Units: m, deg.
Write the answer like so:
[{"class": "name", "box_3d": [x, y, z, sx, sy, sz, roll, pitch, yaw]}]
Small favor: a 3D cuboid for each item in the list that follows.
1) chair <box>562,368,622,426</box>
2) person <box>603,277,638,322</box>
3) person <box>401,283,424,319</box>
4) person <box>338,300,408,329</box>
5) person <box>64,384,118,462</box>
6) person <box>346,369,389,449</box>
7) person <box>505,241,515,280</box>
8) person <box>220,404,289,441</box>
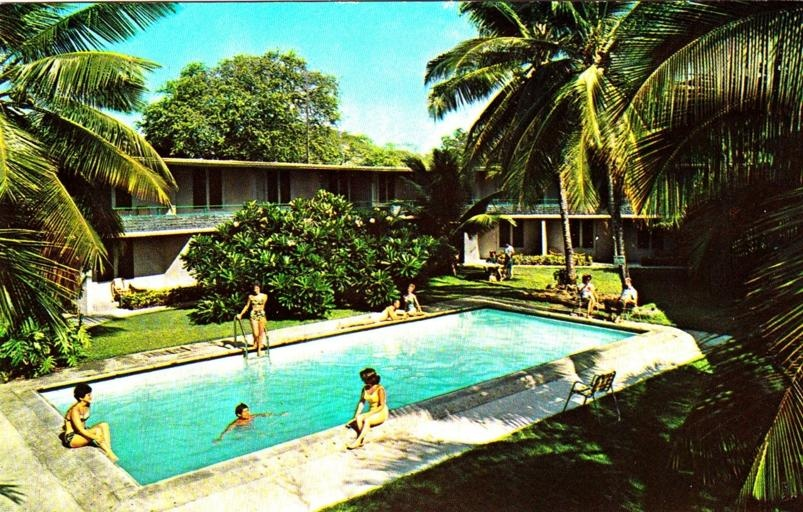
[{"class": "chair", "box_3d": [4.455, 3.258, 13.402, 1.088, 1.149, 1.211, -5, 5, -44]}, {"class": "person", "box_3d": [7.287, 1.433, 18.652, 1.263, 1.353, 0.816, -3, 3, -36]}, {"class": "person", "box_3d": [0.262, 1.723, 20.039, 0.702, 1.173, 1.058, -6, -10, 37]}, {"class": "person", "box_3d": [-0.942, 2.119, 18.799, 2.238, 0.727, 0.827, -17, 31, -17]}, {"class": "person", "box_3d": [-6.441, 3.320, 11.430, 1.171, 1.382, 0.412, 0, 3, 20]}, {"class": "person", "box_3d": [-0.693, 3.209, 11.998, 0.775, 1.510, 1.147, 0, 2, 10]}, {"class": "person", "box_3d": [4.490, 0.230, 23.339, 0.391, 1.418, 0.830, 0, 2, 11]}, {"class": "person", "box_3d": [-3.659, 3.801, 13.257, 1.550, 0.696, 0.460, -3, 3, -41]}]
